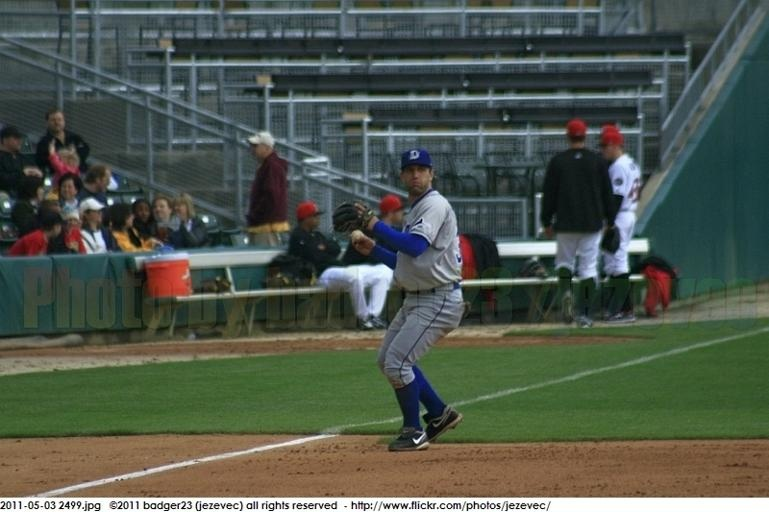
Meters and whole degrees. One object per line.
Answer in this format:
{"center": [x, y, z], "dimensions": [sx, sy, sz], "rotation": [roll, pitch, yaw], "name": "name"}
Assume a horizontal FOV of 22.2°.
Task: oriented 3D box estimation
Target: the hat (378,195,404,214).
{"center": [0.135, -0.901, 32.309], "dimensions": [0.282, 0.209, 0.381], "rotation": [1, 15, 43], "name": "hat"}

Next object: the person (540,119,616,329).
{"center": [3.328, -0.588, 33.437], "dimensions": [1.139, 3.497, 0.874], "rotation": [-1, -1, 38], "name": "person"}

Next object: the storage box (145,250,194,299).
{"center": [-3.727, 0.272, 33.661], "dimensions": [0.793, 0.673, 0.765], "rotation": [-10, 1, -38], "name": "storage box"}

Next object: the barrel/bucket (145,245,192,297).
{"center": [-3.677, 0.260, 33.394], "dimensions": [0.779, 0.660, 0.747], "rotation": [-7, -2, 0], "name": "barrel/bucket"}

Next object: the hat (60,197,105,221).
{"center": [-5.168, -0.852, 33.668], "dimensions": [0.804, 0.369, 0.530], "rotation": [0, 0, -23], "name": "hat"}

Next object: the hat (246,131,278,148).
{"center": [-2.157, -2.066, 34.253], "dimensions": [0.417, 0.297, 0.413], "rotation": [-1, 0, 11], "name": "hat"}

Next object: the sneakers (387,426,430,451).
{"center": [0.375, 2.673, 28.850], "dimensions": [0.549, 0.265, 0.290], "rotation": [1, 0, -6], "name": "sneakers"}

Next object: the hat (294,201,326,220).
{"center": [-1.324, -0.867, 34.484], "dimensions": [0.418, 0.227, 0.297], "rotation": [-14, 13, -15], "name": "hat"}

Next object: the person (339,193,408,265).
{"center": [-0.059, -0.598, 32.623], "dimensions": [0.519, 1.290, 0.951], "rotation": [18, -13, -4], "name": "person"}

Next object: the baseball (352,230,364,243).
{"center": [-0.396, -0.330, 28.904], "dimensions": [0.178, 0.191, 0.231], "rotation": [0, 0, -1], "name": "baseball"}
